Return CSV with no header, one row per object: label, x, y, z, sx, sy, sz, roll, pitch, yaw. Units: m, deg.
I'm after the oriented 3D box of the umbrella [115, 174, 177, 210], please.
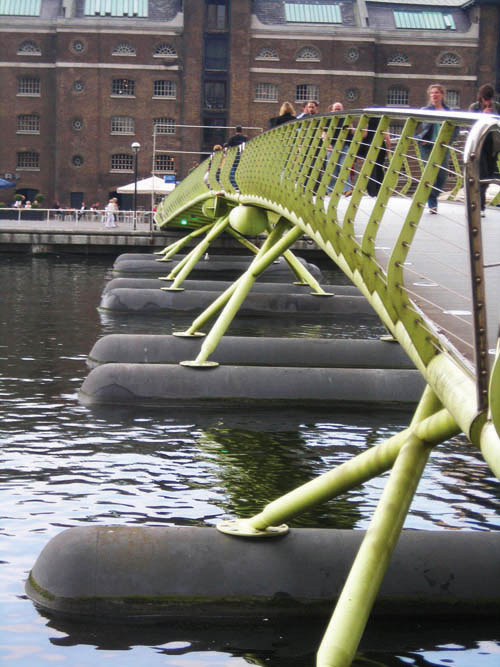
umbrella,-3.286,-4.692,44.176,3.067,1.033,2.719,-2,11,-5
